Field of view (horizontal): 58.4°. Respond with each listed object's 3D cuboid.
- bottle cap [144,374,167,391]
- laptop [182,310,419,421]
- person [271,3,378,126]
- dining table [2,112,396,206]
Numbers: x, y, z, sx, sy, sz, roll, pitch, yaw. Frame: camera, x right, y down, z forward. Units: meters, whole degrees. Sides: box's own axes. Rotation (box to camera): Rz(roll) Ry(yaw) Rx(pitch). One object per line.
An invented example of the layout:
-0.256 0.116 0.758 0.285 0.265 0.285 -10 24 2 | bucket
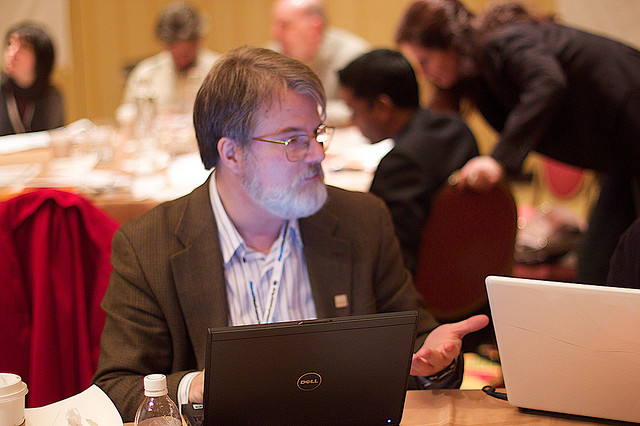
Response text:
-0.410 0.412 1.420 0.048 0.032 0.081 -5 4 -19 | bottle cap
-0.008 0.394 1.447 0.450 0.307 0.304 0 20 -11 | laptop
0.000 -0.953 3.822 0.689 0.909 0.669 1 12 16 | person
-0.913 -0.293 3.138 1.039 0.289 1.151 0 4 23 | dining table
